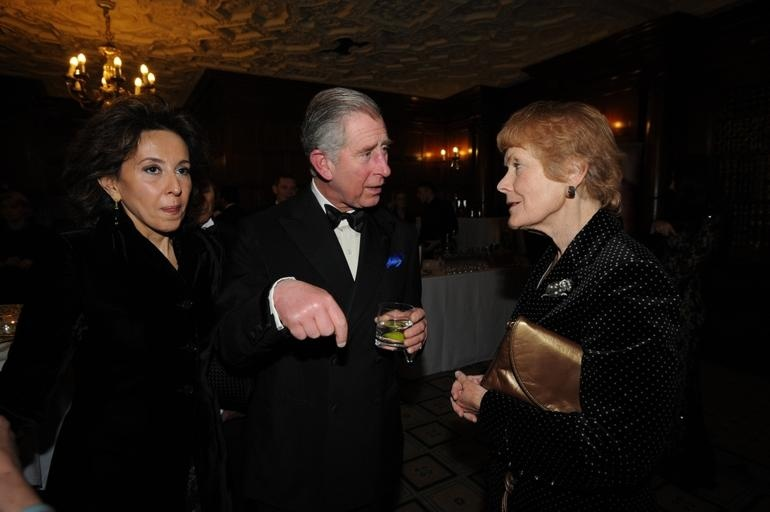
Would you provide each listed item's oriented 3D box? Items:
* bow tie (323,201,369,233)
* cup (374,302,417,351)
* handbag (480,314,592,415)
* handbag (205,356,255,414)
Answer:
[{"bbox_3d":[-0.248,-0.249,3.497,0.216,0.135,0.047,0,1,-14],"label":"bow tie"},{"bbox_3d":[0.050,0.418,3.336,0.234,0.267,0.177,0,13,3],"label":"cup"},{"bbox_3d":[0.824,0.597,2.991,0.523,0.418,0.236,23,0,4],"label":"handbag"},{"bbox_3d":[-0.923,0.770,3.306,0.246,0.309,0.119,3,-2,-19],"label":"handbag"}]
